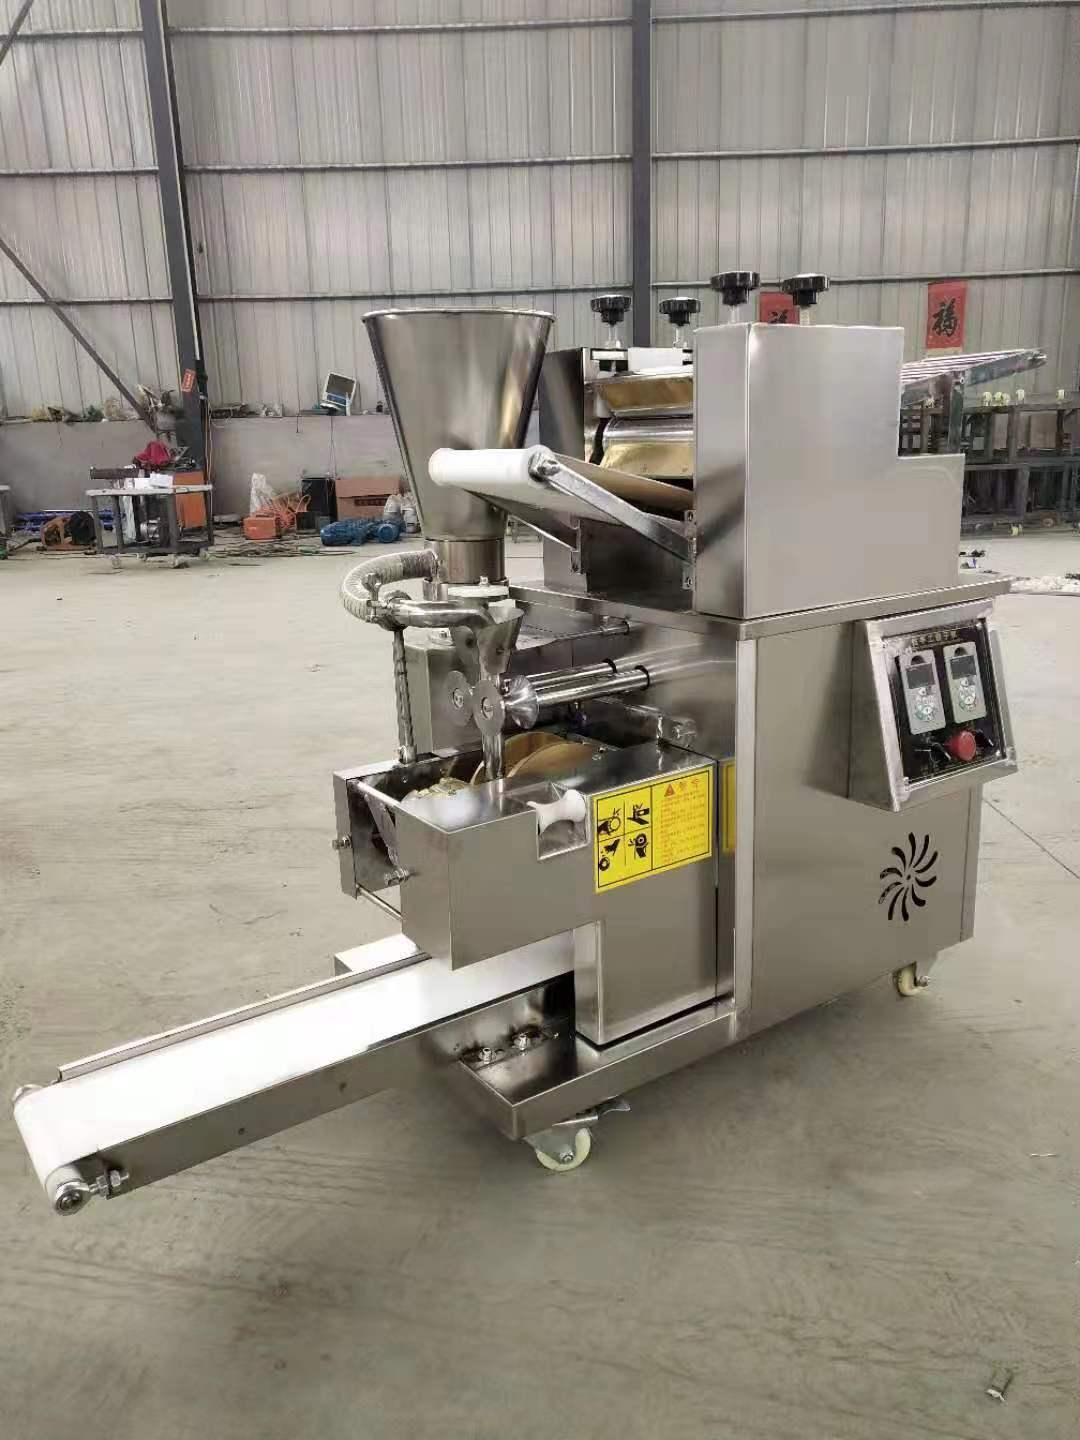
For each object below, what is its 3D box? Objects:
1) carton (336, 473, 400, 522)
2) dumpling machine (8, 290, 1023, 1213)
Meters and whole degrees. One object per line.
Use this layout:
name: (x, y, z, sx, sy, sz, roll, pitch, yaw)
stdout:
carton: (-1.540, -2.000, 9.717, 0.746, 0.499, 0.394, -12, 16, -43)
dumpling machine: (-0.045, -0.107, 1.689, 1.512, 1.167, 0.794, -11, 16, -34)
